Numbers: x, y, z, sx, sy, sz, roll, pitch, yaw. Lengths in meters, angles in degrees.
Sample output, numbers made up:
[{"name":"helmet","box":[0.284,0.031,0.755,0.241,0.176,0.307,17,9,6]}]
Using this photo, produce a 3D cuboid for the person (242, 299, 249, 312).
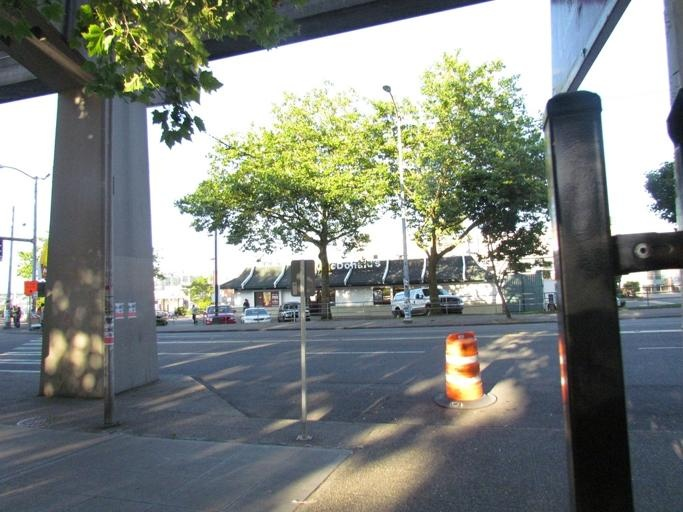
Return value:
[{"name":"person","box":[-7.715,4.021,46.847,0.787,0.864,1.528,-3,7,-8]}]

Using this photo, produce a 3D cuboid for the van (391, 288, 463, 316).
[{"name":"van","box":[5.133,2.780,35.497,3.225,1.743,4.407,0,-5,-23]}]

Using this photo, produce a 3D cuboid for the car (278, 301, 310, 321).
[{"name":"car","box":[-3.543,3.815,39.296,1.311,1.215,2.905,-1,-5,-8]}]

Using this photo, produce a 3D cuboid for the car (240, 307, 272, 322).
[{"name":"car","box":[-5.931,4.107,40.232,1.287,0.889,2.761,1,1,-11]}]

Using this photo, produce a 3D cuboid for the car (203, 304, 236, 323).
[{"name":"car","box":[-8.598,4.228,41.502,1.224,1.068,2.762,1,-12,-14]}]
